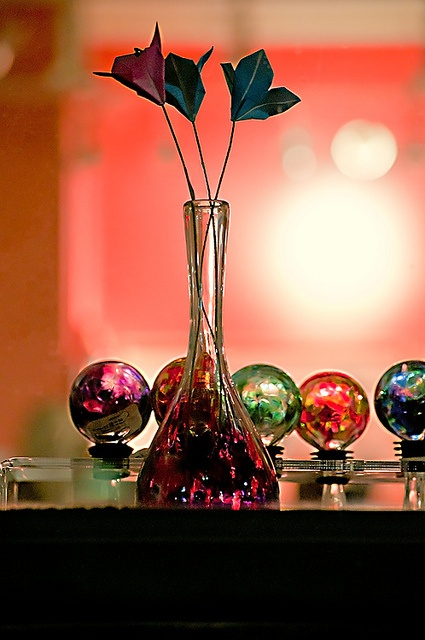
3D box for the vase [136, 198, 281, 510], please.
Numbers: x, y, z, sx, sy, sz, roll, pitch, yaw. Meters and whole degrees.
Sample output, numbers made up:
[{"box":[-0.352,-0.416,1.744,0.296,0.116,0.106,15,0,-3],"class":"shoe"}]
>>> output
[{"box":[-0.001,0.023,0.567,0.110,0.238,0.157,2,7,-19],"class":"vase"}]
